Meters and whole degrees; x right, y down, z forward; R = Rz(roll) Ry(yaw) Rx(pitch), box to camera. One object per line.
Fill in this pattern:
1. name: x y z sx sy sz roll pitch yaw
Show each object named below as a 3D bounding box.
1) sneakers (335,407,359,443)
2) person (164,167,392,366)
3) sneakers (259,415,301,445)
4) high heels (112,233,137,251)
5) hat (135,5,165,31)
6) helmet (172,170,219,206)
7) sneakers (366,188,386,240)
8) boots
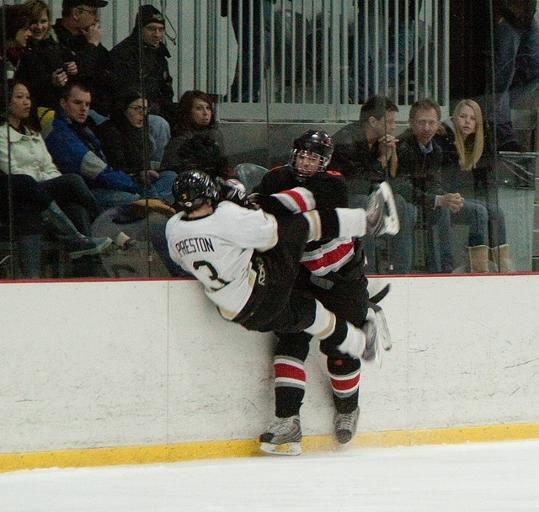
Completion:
1. sneakers: 0.470 1.025 4.562 0.104 0.233 0.106 2 -4 20
2. person: 0.135 0.081 4.235 0.932 0.490 1.348 -26 -33 37
3. sneakers: 0.070 1.012 4.379 0.261 0.171 0.098 -4 5 -39
4. high heels: -0.839 -0.073 4.359 0.124 0.078 0.058 23 8 -3
5. hat: -0.701 -1.380 4.411 0.180 0.124 0.119 0 4 -15
6. helmet: -0.392 -0.342 3.967 0.185 0.189 0.227 17 33 35
7. sneakers: 0.660 -0.264 4.728 0.155 0.281 0.105 13 -23 -15
8. boots: -1.044 -0.159 4.258 0.535 0.345 0.182 -13 18 48
